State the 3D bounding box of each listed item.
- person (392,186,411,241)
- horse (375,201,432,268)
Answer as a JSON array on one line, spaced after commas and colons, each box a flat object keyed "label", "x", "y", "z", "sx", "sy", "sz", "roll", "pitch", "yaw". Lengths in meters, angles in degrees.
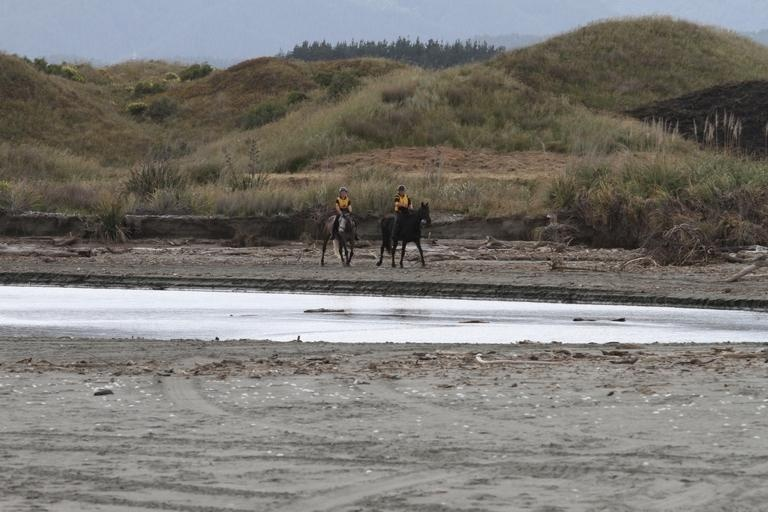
[{"label": "person", "x": 0.600, "y": -1.750, "z": 52.472, "sx": 0.679, "sy": 1.837, "sz": 1.143, "roll": -1, "pitch": 14, "yaw": 1}, {"label": "horse", "x": 0.765, "y": -0.764, "z": 52.625, "sx": 1.187, "sy": 2.222, "sz": 3.414, "roll": 2, "pitch": -3, "yaw": -31}]
